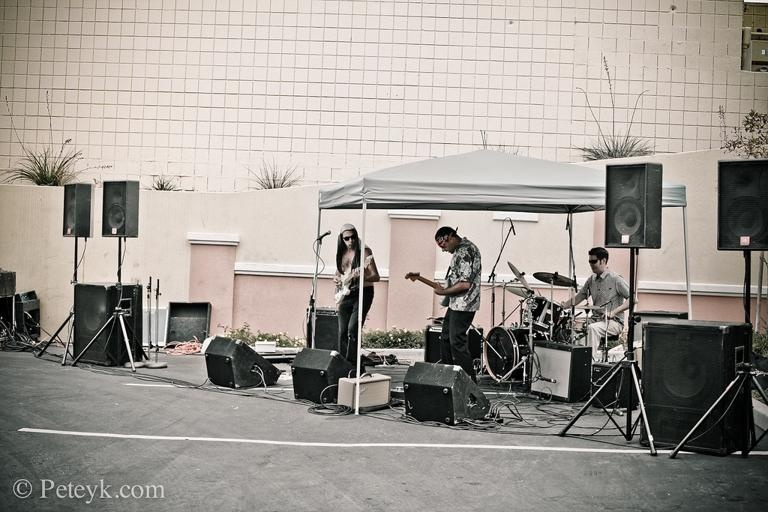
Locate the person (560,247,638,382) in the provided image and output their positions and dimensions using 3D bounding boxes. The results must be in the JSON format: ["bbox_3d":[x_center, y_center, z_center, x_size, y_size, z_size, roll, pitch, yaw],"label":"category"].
[{"bbox_3d":[3.280,0.868,13.021,0.752,2.009,0.834,-1,1,3],"label":"person"}]

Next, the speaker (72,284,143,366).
[{"bbox_3d":[-4.611,1.094,14.153,0.828,1.191,0.643,2,-1,28],"label":"speaker"}]

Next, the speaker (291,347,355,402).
[{"bbox_3d":[-0.928,1.665,11.798,1.413,0.722,0.868,1,-3,11],"label":"speaker"}]

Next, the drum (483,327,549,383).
[{"bbox_3d":[1.953,1.491,13.027,0.647,0.835,0.764,-3,5,-43],"label":"drum"}]

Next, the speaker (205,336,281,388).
[{"bbox_3d":[-2.118,1.577,12.640,1.049,0.684,0.463,2,-1,-15],"label":"speaker"}]

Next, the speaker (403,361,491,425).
[{"bbox_3d":[0.808,1.803,11.417,0.901,0.855,0.879,-1,7,44],"label":"speaker"}]

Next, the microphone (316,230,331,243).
[{"bbox_3d":[-1.048,-0.346,14.799,0.197,0.187,0.614,8,-7,8],"label":"microphone"}]

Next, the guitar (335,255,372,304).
[{"bbox_3d":[-0.452,0.341,13.141,0.422,0.684,0.825,2,-1,-43],"label":"guitar"}]

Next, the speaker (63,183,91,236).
[{"bbox_3d":[-5.210,-0.773,14.494,0.523,0.914,0.415,1,-1,-4],"label":"speaker"}]

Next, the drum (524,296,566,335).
[{"bbox_3d":[2.417,0.952,12.906,0.601,0.493,0.576,28,-11,-37],"label":"drum"}]

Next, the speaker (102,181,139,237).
[{"bbox_3d":[-4.341,-0.782,14.014,0.465,0.878,0.305,1,-2,9],"label":"speaker"}]

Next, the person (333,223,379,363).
[{"bbox_3d":[-0.426,0.761,13.158,0.531,2.521,1.148,2,-3,-40],"label":"person"}]
